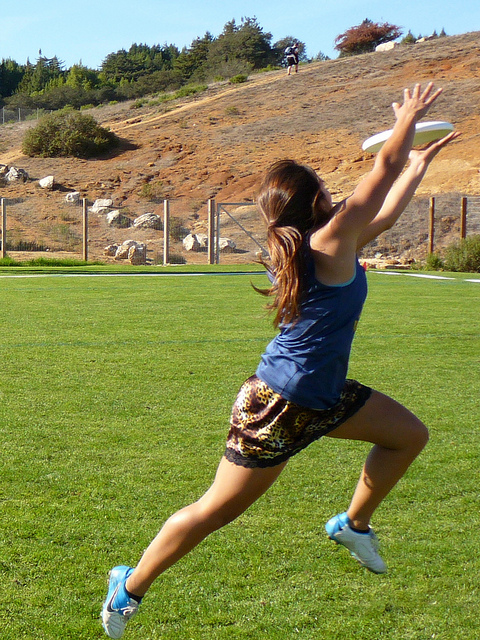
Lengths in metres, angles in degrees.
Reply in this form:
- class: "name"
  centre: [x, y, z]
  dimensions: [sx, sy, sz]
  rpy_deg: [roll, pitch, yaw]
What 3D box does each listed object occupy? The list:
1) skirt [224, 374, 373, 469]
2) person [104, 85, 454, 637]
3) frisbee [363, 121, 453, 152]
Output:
- class: "skirt"
  centre: [0.220, 0.302, 3.563]
  dimensions: [0.627, 0.270, 0.326]
  rpy_deg: [-4, 25, -35]
- class: "person"
  centre: [0.136, 0.099, 3.435]
  dimensions: [1.142, 1.797, 0.339]
  rpy_deg: [-2, 11, -7]
- class: "frisbee"
  centre: [0.655, -0.715, 3.803]
  dimensions: [0.353, 0.115, 0.355]
  rpy_deg: [1, 9, 10]
